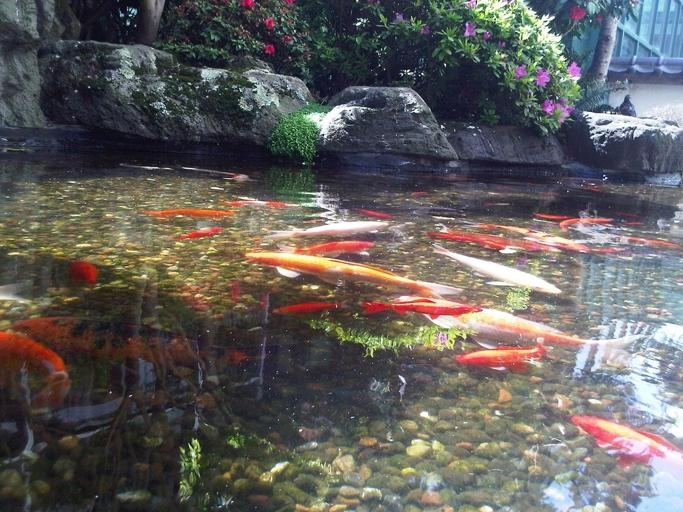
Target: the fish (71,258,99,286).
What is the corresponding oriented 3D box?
[{"bbox_3d":[-1.027,0.066,1.975,0.100,0.035,0.124,11,9,-23],"label":"fish"}]
